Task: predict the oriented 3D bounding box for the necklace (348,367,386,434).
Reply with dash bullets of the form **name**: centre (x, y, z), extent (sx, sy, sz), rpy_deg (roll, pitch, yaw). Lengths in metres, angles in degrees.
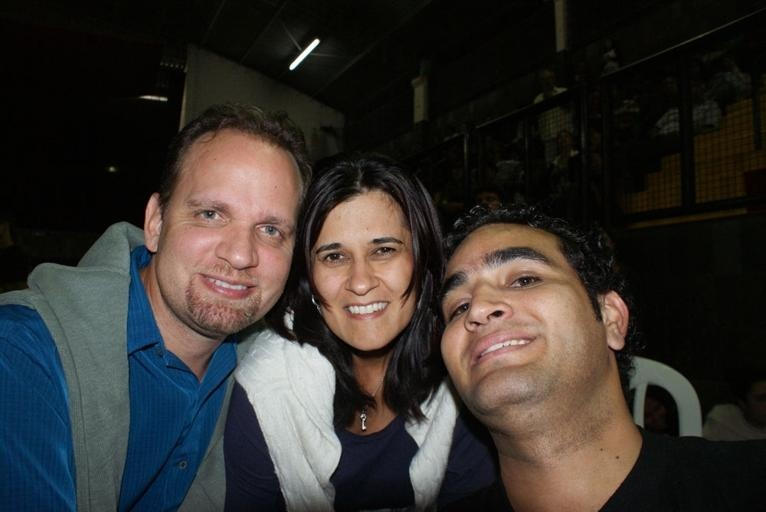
- **necklace**: centre (-0.104, 1.114, 4.410), extent (0.333, 0.428, 0.122), rpy_deg (10, -9, 16)
